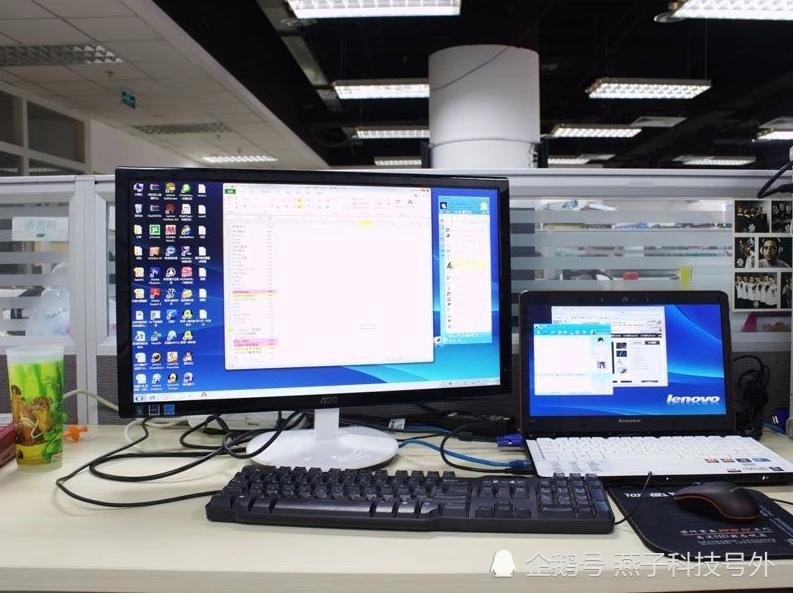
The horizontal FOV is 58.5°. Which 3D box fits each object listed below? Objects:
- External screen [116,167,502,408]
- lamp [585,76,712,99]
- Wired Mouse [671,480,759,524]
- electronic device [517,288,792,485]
[{"bbox_3d":[-0.223,-0.019,1.547,0.682,0.329,0.046,-1,3,-9],"label":"External screen"},{"bbox_3d":[1.885,-1.560,5.298,0.809,0.105,0.490,-2,1,-1],"label":"lamp"},{"bbox_3d":[0.620,0.384,1.362,0.077,0.037,0.122,2,1,-39],"label":"Wired Mouse"},{"bbox_3d":[0.538,0.183,1.613,0.601,0.331,0.438,0,7,-2],"label":"electronic device"}]
